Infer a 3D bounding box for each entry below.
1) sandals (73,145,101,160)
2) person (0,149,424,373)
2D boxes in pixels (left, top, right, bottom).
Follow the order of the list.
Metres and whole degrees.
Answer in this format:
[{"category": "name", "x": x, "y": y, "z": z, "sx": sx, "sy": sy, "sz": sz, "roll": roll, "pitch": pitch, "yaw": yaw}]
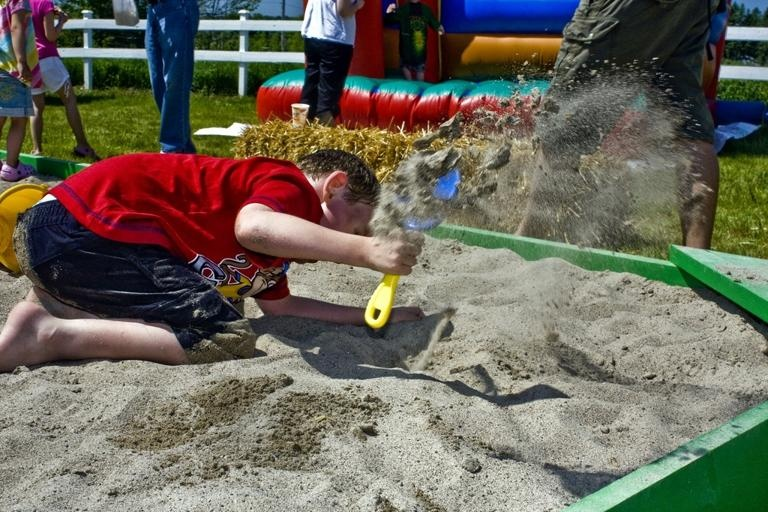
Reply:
[{"category": "sandals", "x": -2.893, "y": -0.990, "z": 9.200, "sx": 0.278, "sy": 0.121, "sz": 0.146, "roll": 4, "pitch": 13, "yaw": -14}, {"category": "person", "x": -0.964, "y": 0.020, "z": 5.097, "sx": 1.946, "sy": 0.870, "sz": 1.170, "roll": -3, "pitch": 14, "yaw": -21}]
